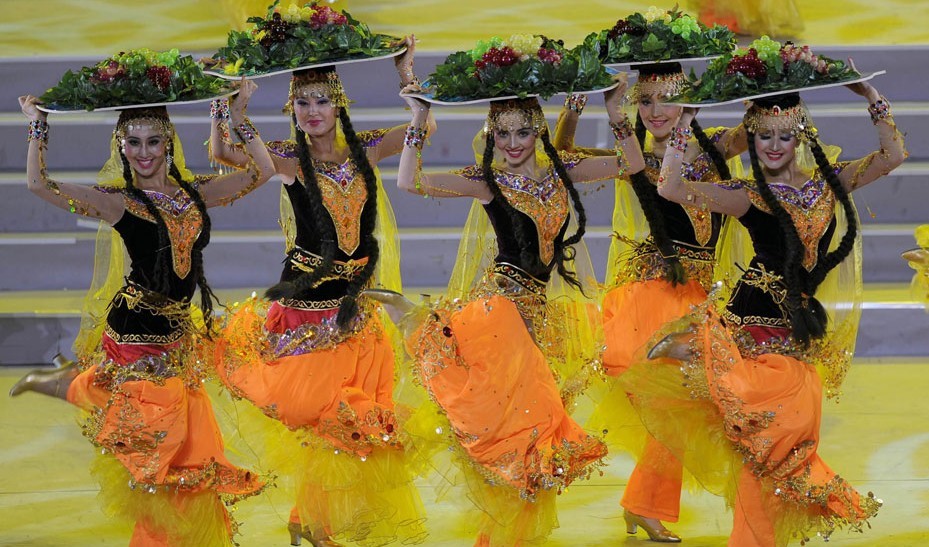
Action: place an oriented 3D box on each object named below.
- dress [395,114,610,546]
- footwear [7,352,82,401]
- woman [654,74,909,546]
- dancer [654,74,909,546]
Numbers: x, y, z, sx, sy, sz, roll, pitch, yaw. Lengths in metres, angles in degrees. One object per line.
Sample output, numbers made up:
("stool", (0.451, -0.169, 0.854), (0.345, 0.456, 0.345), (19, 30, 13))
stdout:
("dress", (0.207, 0.359, 8.198), (1.101, 2.429, 0.772), (-7, 15, -4))
("footwear", (-2.391, 0.589, 8.183), (0.374, 0.172, 0.227), (-11, 11, -34))
("woman", (1.649, 0.293, 8.168), (1.243, 2.537, 0.799), (-5, 15, 6))
("dancer", (1.649, 0.293, 8.168), (1.243, 2.537, 0.799), (-5, 15, 6))
